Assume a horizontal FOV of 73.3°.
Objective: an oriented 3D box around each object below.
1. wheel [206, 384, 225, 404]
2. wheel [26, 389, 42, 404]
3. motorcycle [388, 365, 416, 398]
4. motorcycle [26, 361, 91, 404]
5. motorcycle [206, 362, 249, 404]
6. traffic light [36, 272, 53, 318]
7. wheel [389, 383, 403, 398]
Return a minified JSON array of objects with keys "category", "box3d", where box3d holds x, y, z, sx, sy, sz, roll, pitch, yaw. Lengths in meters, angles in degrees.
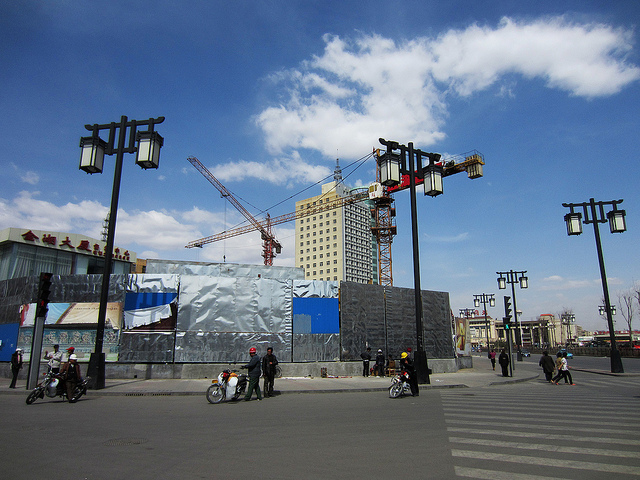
[{"category":"wheel","box3d":[-3.751,5.573,15.506,0.790,0.817,0.218,5,-36,-19]},{"category":"wheel","box3d":[-9.867,5.376,14.774,0.376,0.456,0.278,11,-20,-39]},{"category":"motorcycle","box3d":[3.152,5.395,16.465,1.178,1.152,0.531,12,-20,-40]},{"category":"motorcycle","box3d":[-9.242,5.101,15.350,0.852,1.368,1.960,4,-8,39]},{"category":"motorcycle","box3d":[-3.287,5.384,16.066,0.934,1.213,2.236,-3,-11,35]},{"category":"traffic light","box3d":[-11.694,2.289,18.157,0.415,2.007,1.115,9,-18,-33]},{"category":"wheel","box3d":[2.925,5.692,16.255,0.438,0.452,0.111,28,-15,-16]}]
